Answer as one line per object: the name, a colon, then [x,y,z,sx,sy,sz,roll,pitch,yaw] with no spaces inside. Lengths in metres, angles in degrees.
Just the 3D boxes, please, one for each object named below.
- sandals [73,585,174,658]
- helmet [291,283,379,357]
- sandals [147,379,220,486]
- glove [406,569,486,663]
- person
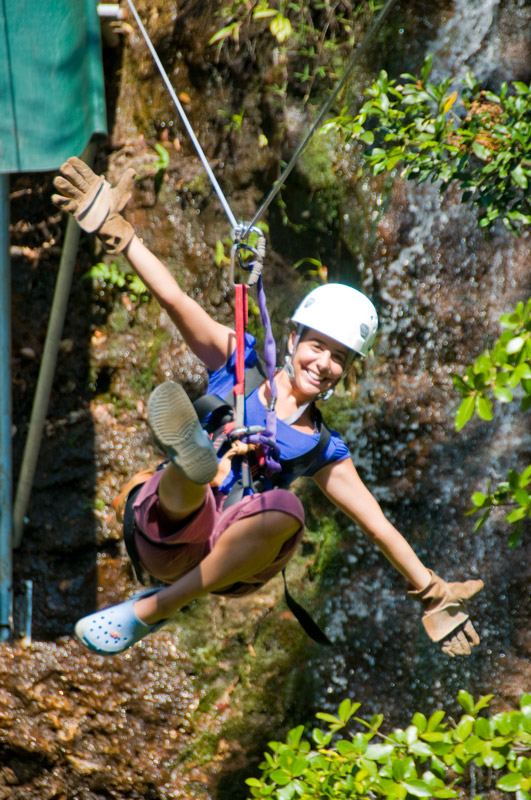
sandals: [-0.546,0.871,4.738,0.433,0.168,0.192,-16,62,-45]
helmet: [0.304,-0.334,5.054,0.270,0.279,0.345,37,-12,-19]
sandals: [-0.285,0.118,4.093,0.345,0.195,0.149,61,-6,3]
glove: [0.770,0.913,5.114,0.359,0.314,0.102,56,-3,1]
person: [-0.054,0.093,5.739,2.279,1.524,1.135,40,-26,-7]
